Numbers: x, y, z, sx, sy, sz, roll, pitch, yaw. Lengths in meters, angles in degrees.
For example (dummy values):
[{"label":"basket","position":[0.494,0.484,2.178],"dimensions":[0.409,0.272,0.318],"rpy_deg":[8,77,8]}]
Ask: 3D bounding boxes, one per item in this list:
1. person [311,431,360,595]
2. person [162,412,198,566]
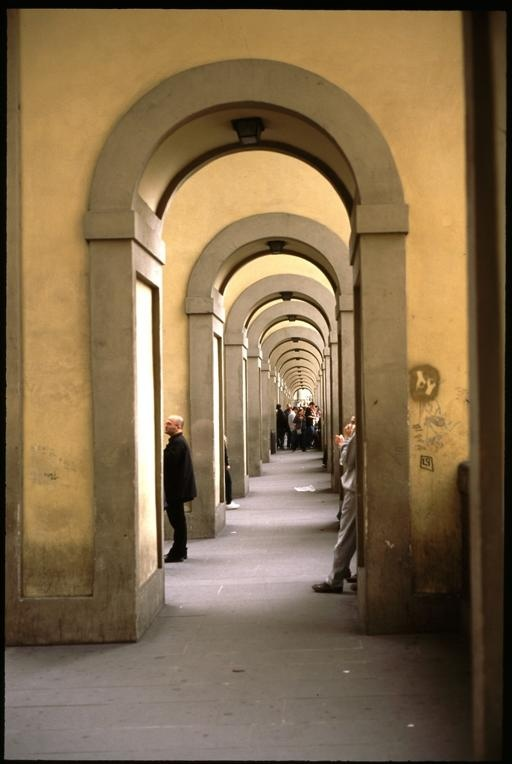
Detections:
[{"label":"person","position":[0.737,1.186,7.979],"dimensions":[0.351,1.504,0.737],"rpy_deg":[-1,-1,4]},{"label":"person","position":[-0.885,1.228,9.991],"dimensions":[0.364,1.655,0.406],"rpy_deg":[-1,-1,-9]}]
